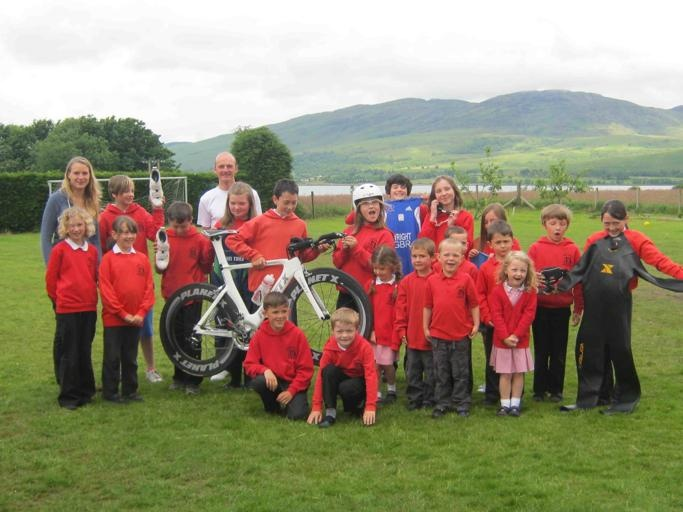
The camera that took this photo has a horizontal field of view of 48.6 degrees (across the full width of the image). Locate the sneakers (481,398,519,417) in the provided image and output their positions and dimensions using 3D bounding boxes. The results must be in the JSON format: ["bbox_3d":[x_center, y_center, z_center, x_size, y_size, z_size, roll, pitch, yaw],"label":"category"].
[{"bbox_3d":[1.656,1.619,7.963,0.382,0.237,0.123,4,-9,4],"label":"sneakers"}]

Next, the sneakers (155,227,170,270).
[{"bbox_3d":[-2.046,-0.084,8.623,0.167,0.457,0.186,-4,14,-16],"label":"sneakers"}]

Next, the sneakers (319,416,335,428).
[{"bbox_3d":[-0.147,1.679,7.675,0.145,0.091,0.238,1,13,6],"label":"sneakers"}]

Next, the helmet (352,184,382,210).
[{"bbox_3d":[0.301,-0.698,8.713,0.344,0.302,0.502,0,14,1],"label":"helmet"}]

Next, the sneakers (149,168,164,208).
[{"bbox_3d":[-2.138,-0.783,8.833,0.186,0.524,0.216,-7,13,-24],"label":"sneakers"}]

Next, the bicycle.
[{"bbox_3d":[-0.914,0.537,8.367,2.600,1.404,0.984,-6,-4,17],"label":"bicycle"}]

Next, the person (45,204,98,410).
[{"bbox_3d":[-2.897,0.553,8.015,0.487,2.048,0.765,1,15,4],"label":"person"}]

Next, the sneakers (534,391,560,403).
[{"bbox_3d":[2.249,1.560,8.323,0.132,0.093,0.319,7,-7,-30],"label":"sneakers"}]

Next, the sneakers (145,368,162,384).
[{"bbox_3d":[-2.233,1.432,8.941,0.102,0.100,0.245,-1,-2,-36],"label":"sneakers"}]

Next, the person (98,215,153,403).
[{"bbox_3d":[-2.378,0.581,8.243,0.560,1.989,0.791,1,15,4],"label":"person"}]
